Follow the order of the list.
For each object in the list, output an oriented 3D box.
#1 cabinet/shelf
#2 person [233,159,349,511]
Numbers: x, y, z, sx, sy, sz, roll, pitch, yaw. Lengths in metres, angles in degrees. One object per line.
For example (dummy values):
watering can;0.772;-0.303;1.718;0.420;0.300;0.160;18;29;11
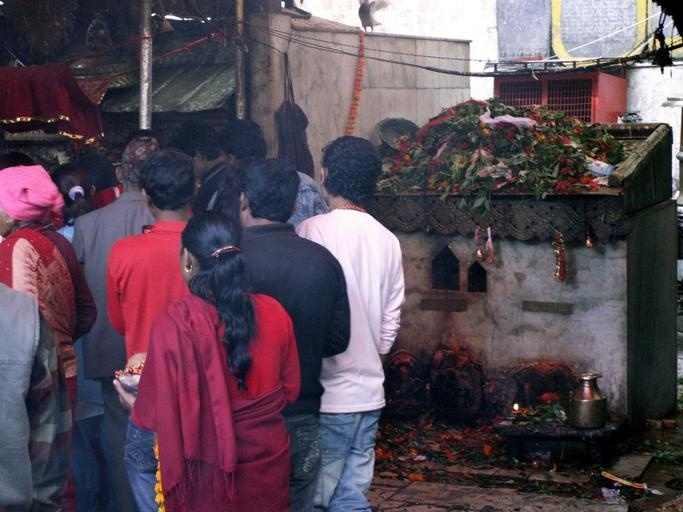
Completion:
cabinet/shelf;4.738;-3.732;25.760;2.190;1.384;1.324;-1;18;11
person;-0.384;0.681;9.323;0.910;2.998;0.284;0;-1;-8
